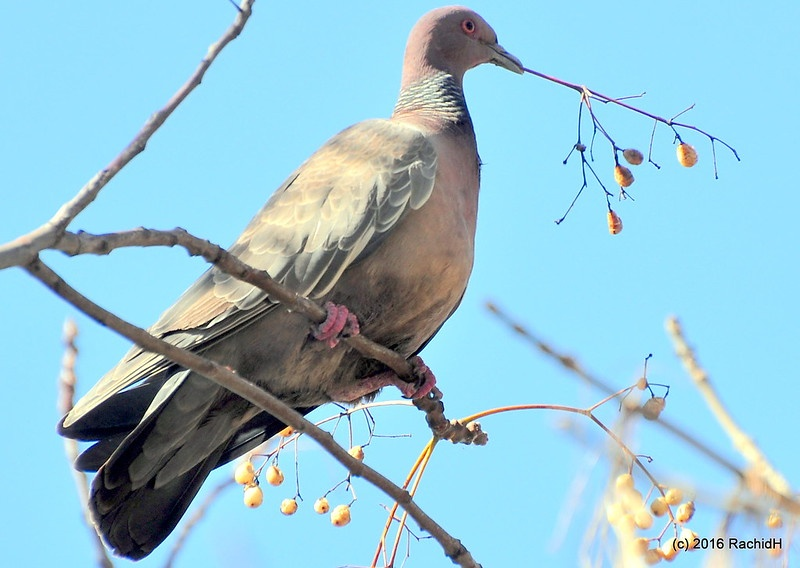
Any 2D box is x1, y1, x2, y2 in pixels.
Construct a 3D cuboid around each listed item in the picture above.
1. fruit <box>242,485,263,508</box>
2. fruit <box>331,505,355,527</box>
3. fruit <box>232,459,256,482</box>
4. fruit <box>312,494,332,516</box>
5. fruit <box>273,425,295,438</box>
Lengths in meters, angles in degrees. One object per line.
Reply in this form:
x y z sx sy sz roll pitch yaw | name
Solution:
-0.790 1.136 7.673 0.106 0.136 0.060 -17 -61 20 | fruit
-0.323 1.257 7.772 0.093 0.132 0.065 -3 -57 12 | fruit
-0.851 1.026 7.797 0.102 0.095 0.097 2 -58 9 | fruit
-0.423 1.195 7.815 0.071 0.086 0.093 22 -57 -4 | fruit
-0.637 0.835 8.075 0.095 0.104 0.070 -16 -99 -12 | fruit
